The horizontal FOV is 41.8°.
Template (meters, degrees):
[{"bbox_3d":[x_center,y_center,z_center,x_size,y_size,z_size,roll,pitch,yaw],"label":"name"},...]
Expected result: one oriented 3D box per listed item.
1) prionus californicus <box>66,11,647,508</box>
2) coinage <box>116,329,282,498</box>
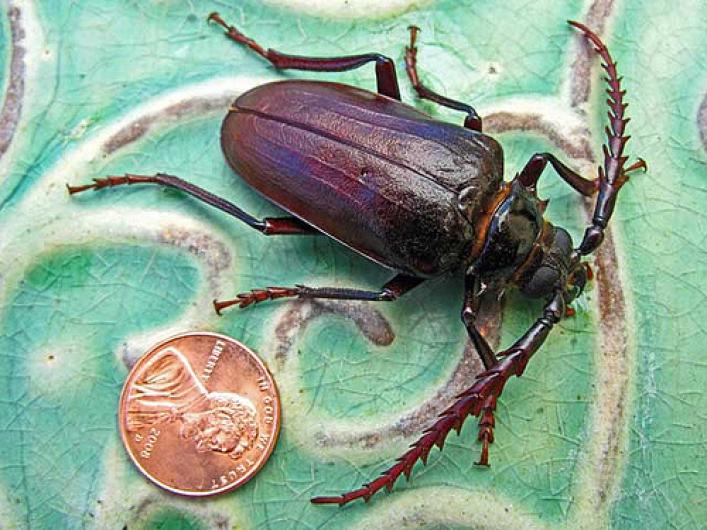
[{"bbox_3d":[0.441,-0.243,6.155,2.898,3.265,0.951,-21,-4,-6],"label":"prionus californicus"},{"bbox_3d":[-1.036,0.987,6.220,1.113,1.157,0.121,-7,-25,-5],"label":"coinage"}]
